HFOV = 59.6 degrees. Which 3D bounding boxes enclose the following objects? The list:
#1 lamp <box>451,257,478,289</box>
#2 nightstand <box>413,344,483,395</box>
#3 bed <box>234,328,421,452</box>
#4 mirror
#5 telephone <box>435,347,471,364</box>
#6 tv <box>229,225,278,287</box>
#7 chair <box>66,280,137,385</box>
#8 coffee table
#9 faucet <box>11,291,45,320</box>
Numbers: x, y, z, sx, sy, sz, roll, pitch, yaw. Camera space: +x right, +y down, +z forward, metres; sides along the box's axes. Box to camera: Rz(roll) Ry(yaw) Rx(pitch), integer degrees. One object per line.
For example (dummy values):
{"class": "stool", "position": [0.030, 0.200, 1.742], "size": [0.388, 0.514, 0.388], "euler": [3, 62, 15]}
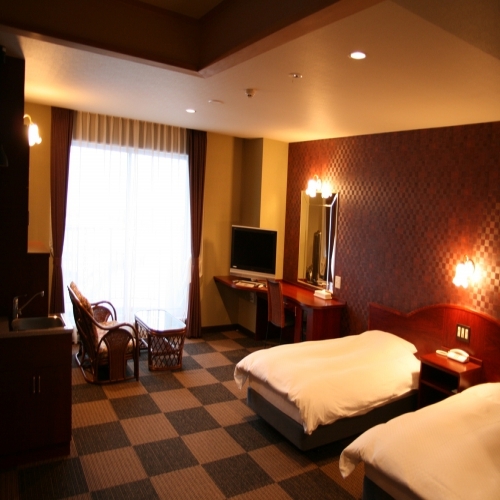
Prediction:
{"class": "lamp", "position": [2.002, 0.238, 4.070], "size": [0.043, 0.241, 0.212], "euler": [2, 24, -24]}
{"class": "nightstand", "position": [1.809, 1.216, 3.982], "size": [0.310, 0.521, 0.442], "euler": [-1, 5, -25]}
{"class": "bed", "position": [0.849, 1.161, 3.884], "size": [1.244, 0.563, 0.864], "euler": [-1, 6, -32]}
{"class": "mirror", "position": [0.938, -0.098, 5.956], "size": [0.061, 1.890, 1.133], "euler": [0, 2, -21]}
{"class": "telephone", "position": [1.875, 0.959, 4.032], "size": [0.102, 0.097, 0.196], "euler": [6, 1, -40]}
{"class": "tv", "position": [0.068, 0.076, 6.401], "size": [0.648, 0.861, 0.050], "euler": [7, 8, 37]}
{"class": "chair", "position": [-1.800, 0.948, 5.306], "size": [0.609, 1.109, 1.420], "euler": [-2, 4, -28]}
{"class": "coffee table", "position": [-1.118, 1.139, 5.456], "size": [0.545, 0.542, 0.899], "euler": [1, 6, -20]}
{"class": "faucet", "position": [-1.880, 0.470, 3.710], "size": [0.209, 0.182, 0.243], "euler": [1, -9, -19]}
